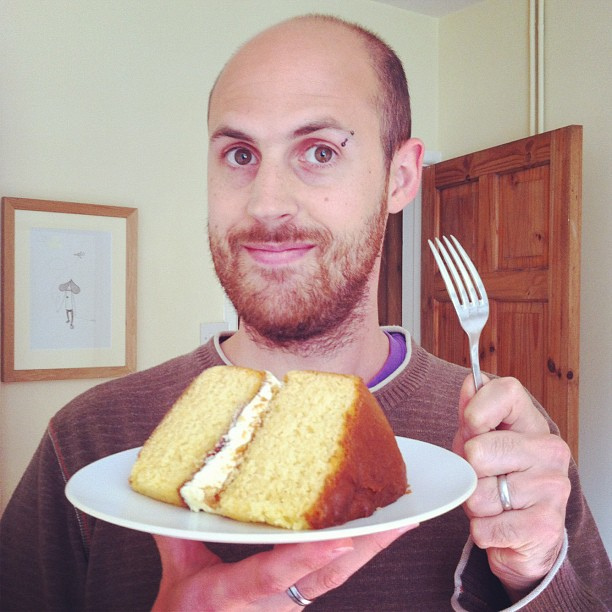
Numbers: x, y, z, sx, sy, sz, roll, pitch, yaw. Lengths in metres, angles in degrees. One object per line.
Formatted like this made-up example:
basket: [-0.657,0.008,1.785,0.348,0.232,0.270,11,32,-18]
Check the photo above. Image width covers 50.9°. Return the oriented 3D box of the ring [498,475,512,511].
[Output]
ring: [0.249,0.232,0.799,0.010,0.032,0.035,-13,12,10]

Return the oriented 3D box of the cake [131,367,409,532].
cake: [-0.043,0.173,0.851,0.387,0.161,0.242,-4,-10,45]
